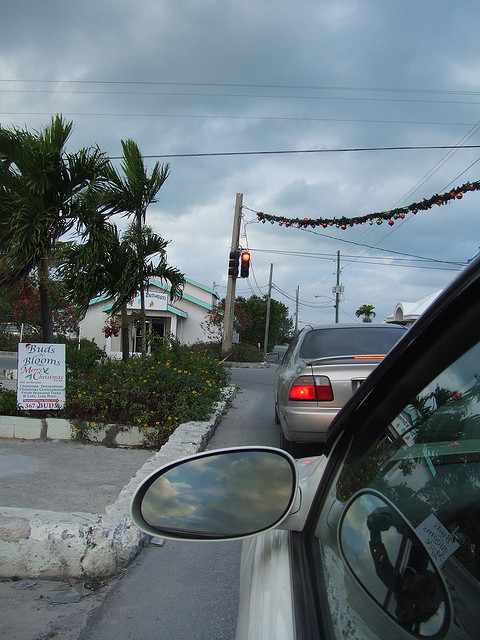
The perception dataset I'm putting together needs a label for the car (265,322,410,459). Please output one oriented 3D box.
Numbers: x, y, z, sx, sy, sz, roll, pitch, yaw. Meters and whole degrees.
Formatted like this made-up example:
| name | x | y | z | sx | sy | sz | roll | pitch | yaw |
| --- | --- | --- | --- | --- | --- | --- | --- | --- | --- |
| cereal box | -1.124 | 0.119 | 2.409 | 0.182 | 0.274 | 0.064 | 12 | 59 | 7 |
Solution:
| name | x | y | z | sx | sy | sz | roll | pitch | yaw |
| --- | --- | --- | --- | --- | --- | --- | --- | --- | --- |
| car | 0.980 | 0.684 | 5.772 | 1.119 | 0.914 | 2.673 | 0 | 4 | -3 |
